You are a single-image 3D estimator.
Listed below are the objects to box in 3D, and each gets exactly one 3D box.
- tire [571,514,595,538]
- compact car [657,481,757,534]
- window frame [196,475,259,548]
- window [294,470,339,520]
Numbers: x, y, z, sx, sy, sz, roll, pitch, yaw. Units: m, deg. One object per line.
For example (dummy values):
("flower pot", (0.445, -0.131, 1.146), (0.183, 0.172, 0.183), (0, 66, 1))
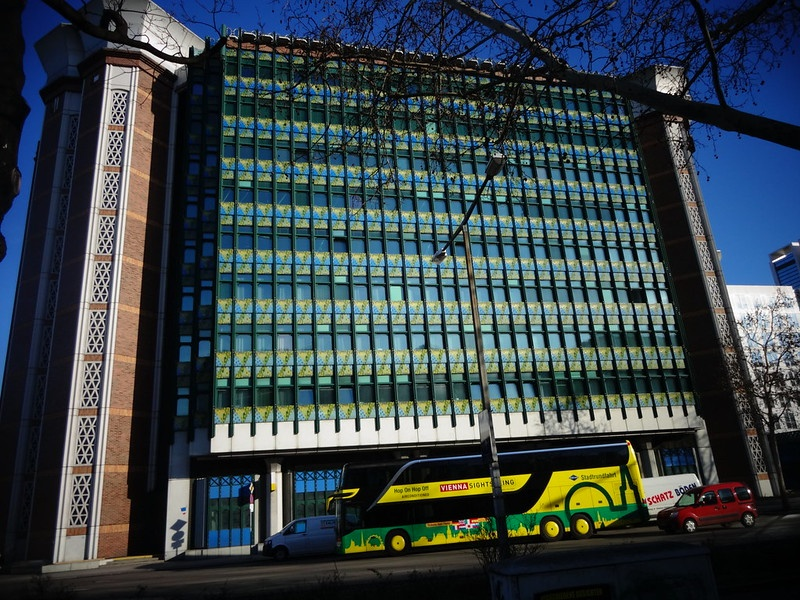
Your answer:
("tire", (8.913, 11.051, 34.571), (0.884, 0.881, 0.367), (24, -4, 2))
("compact car", (14.772, 10.064, 34.253), (4.048, 1.907, 2.297), (2, -24, -8))
("window frame", (-11.803, 14.620, 48.134), (4.662, 5.374, 0.280), (3, -25, -16))
("window", (-5.912, 13.787, 50.038), (3.279, 3.090, 0.185), (4, -11, -30))
